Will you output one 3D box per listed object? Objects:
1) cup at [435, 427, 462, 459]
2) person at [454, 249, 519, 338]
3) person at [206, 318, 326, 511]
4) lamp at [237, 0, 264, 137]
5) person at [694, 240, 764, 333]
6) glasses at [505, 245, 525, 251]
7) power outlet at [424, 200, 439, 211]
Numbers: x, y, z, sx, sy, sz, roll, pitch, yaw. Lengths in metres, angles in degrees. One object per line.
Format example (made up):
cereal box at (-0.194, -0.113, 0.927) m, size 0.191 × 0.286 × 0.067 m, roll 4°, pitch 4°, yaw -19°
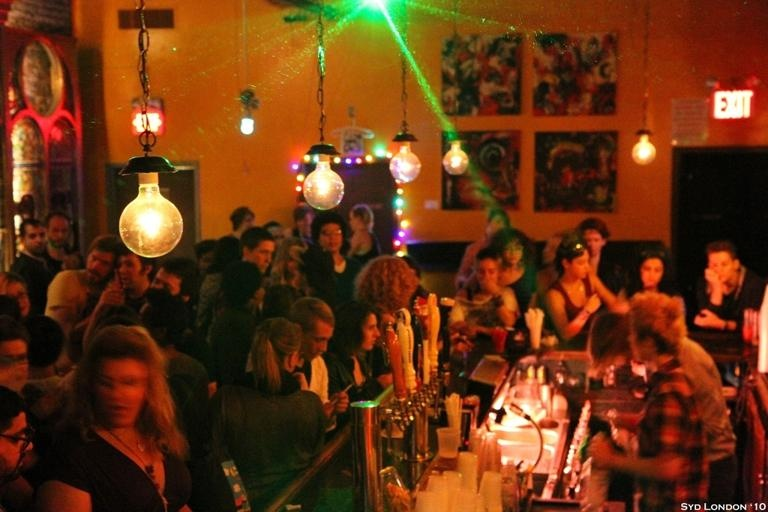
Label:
cup at (0.385, 1.100, 4.917) m, size 0.166 × 0.122 × 0.160 m, roll -1°, pitch 0°, yaw 0°
person at (0.826, 0.350, 7.072) m, size 0.572 × 0.757 × 0.542 m, roll 1°, pitch 2°, yaw 20°
person at (-0.685, 0.933, 5.125) m, size 0.679 × 1.102 × 0.616 m, roll 5°, pitch -5°, yaw -4°
lamp at (-1.563, -2.203, 9.873) m, size 0.281 × 1.501 × 0.436 m, roll 5°, pitch -5°, yaw -6°
person at (2.828, 0.268, 7.374) m, size 0.808 × 0.808 × 0.619 m, roll -2°, pitch 0°, yaw -36°
glasses at (1.259, -0.077, 8.105) m, size 0.124 × 0.049 × 0.167 m, roll 1°, pitch -1°, yaw 11°
power outlet at (0.588, -0.613, 10.090) m, size 0.152 × 0.135 × 0.035 m, roll 3°, pitch 0°, yaw 9°
